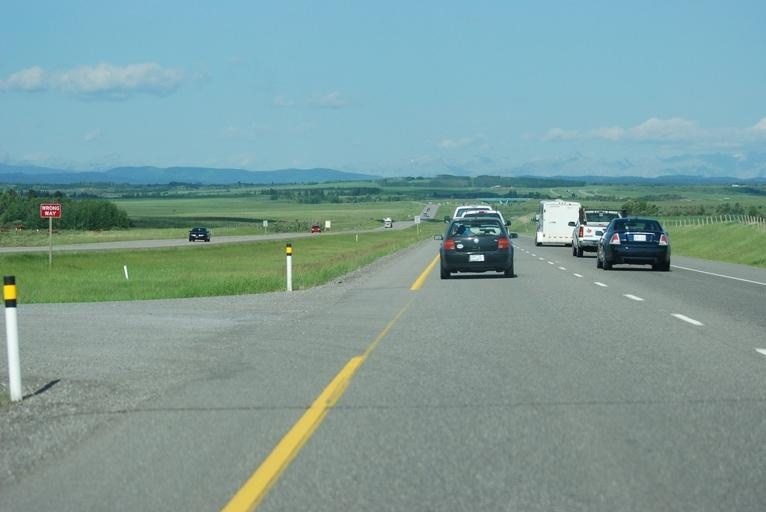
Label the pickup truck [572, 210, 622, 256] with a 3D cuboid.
[{"bbox_3d":[10.469,-1.297,39.455,1.754,1.624,3.321,-1,8,4],"label":"pickup truck"}]

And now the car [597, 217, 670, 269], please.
[{"bbox_3d":[9.101,-0.464,28.833,2.157,1.990,2.264,-1,5,-7],"label":"car"}]

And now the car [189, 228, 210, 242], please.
[{"bbox_3d":[-19.032,-2.371,83.233,1.395,1.035,2.354,0,-2,-4],"label":"car"}]

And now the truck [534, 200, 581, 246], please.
[{"bbox_3d":[12.130,-2.399,54.759,2.864,3.308,5.465,2,7,6],"label":"truck"}]

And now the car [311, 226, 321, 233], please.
[{"bbox_3d":[-10.264,-4.379,124.030,0.842,0.726,1.897,0,-1,-1],"label":"car"}]
